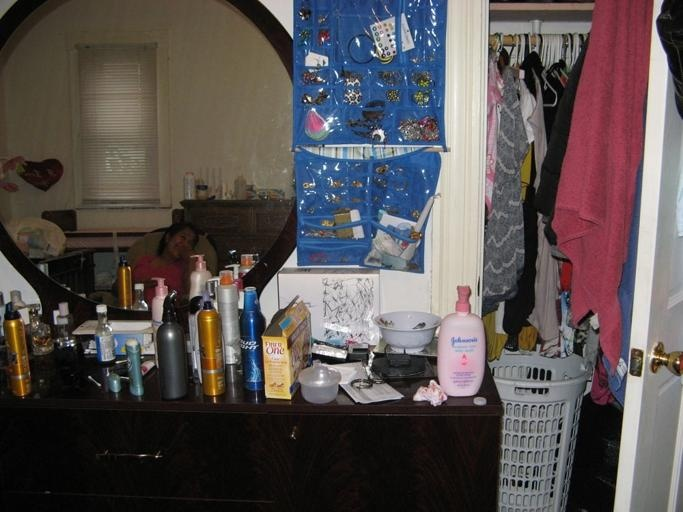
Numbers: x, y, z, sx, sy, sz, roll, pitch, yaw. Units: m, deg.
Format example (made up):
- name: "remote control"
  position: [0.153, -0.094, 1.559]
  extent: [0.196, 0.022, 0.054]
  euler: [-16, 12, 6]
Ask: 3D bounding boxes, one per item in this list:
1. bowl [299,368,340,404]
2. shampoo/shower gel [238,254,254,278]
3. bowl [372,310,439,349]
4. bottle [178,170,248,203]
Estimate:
- name: "bowl"
  position: [-0.068, 0.370, 1.835]
  extent: [0.115, 0.117, 0.127]
  euler: [3, 14, 12]
- name: "shampoo/shower gel"
  position: [-0.333, 0.037, 2.162]
  extent: [0.063, 0.077, 0.068]
  euler: [2, 3, 34]
- name: "bowl"
  position: [0.222, 0.259, 2.052]
  extent: [0.226, 0.098, 0.232]
  euler: [-2, 8, 0]
- name: "bottle"
  position: [-0.436, -0.252, 2.149]
  extent: [0.248, 0.102, 0.020]
  euler: [-2, 4, 1]
